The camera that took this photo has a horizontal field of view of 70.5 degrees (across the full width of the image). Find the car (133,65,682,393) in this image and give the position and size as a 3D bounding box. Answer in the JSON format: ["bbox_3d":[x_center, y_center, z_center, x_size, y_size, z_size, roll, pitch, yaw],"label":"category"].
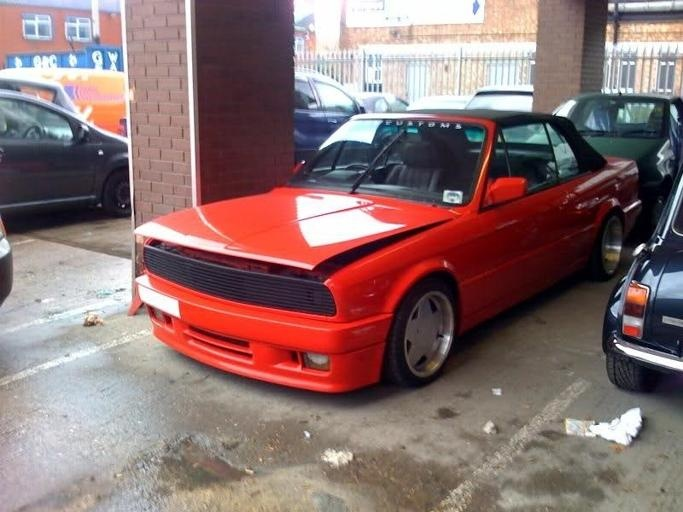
[{"bbox_3d":[0.711,-0.342,4.280,4.304,1.568,2.050,-15,22,-39],"label":"car"}]
